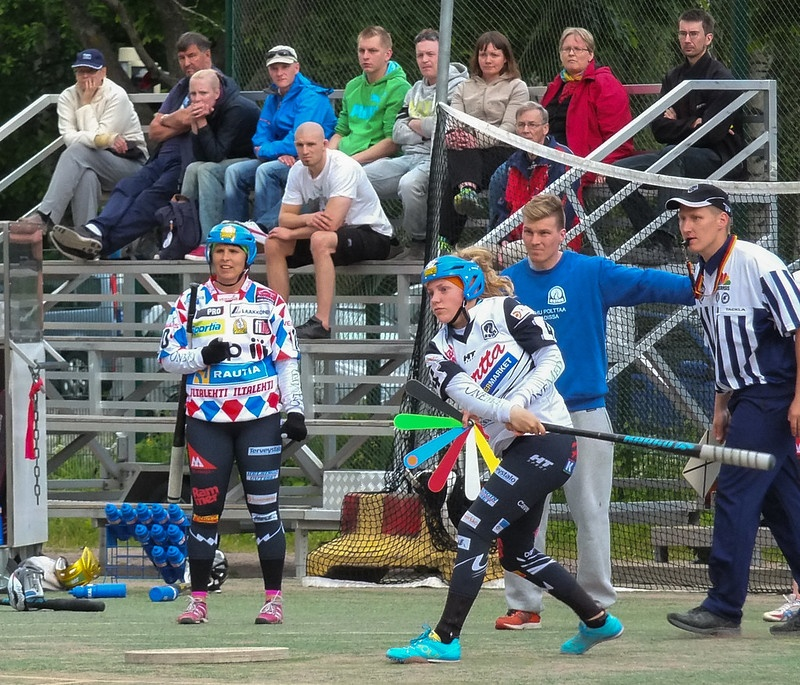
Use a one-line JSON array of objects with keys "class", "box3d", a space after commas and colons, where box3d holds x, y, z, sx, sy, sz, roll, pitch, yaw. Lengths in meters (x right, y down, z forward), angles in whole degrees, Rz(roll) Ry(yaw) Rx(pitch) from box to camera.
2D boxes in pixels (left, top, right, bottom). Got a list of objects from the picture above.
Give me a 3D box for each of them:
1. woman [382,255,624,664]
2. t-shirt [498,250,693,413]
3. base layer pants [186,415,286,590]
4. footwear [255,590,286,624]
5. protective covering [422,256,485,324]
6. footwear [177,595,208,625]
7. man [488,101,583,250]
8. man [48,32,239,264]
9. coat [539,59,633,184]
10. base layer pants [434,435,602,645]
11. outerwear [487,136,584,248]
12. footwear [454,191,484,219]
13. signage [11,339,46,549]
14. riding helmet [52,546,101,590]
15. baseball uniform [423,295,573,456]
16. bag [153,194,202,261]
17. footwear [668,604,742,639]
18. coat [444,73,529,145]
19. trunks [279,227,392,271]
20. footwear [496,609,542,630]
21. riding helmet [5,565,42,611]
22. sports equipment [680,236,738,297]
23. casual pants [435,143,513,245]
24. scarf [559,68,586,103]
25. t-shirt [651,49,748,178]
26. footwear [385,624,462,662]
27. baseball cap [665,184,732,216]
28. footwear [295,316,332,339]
[{"class": "woman", "box3d": [0.658, 0.763, 12.705, 1.674, 2.581, 0.871, 11, -37, -14]}, {"class": "t-shirt", "box3d": [1.230, -0.084, 13.138, 1.117, 0.624, 0.269, -5, 5, 24]}, {"class": "base layer pants", "box3d": [-1.050, 0.981, 13.078, 0.621, 0.412, 1.936, -2, 42, -3]}, {"class": "footwear", "box3d": [-0.835, 1.670, 13.001, 0.173, 0.193, 0.268, -1, 2, -4]}, {"class": "protective covering", "box3d": [0.329, -0.309, 12.034, 0.368, 0.347, 0.285, -4, -5, -30]}, {"class": "footwear", "box3d": [-1.316, 1.700, 12.977, 0.097, 0.123, 0.276, 0, -9, 9]}, {"class": "man", "box3d": [0.938, -1.117, 14.902, 0.725, 1.135, 0.626, 5, 8, 37]}, {"class": "man", "box3d": [-2.122, -1.682, 17.115, 0.856, 1.399, 2.256, 4, 23, 32]}, {"class": "coat", "box3d": [1.440, -1.805, 16.364, 0.942, 0.840, 0.523, 19, 27, 41]}, {"class": "base layer pants", "box3d": [0.644, 1.097, 11.822, 0.975, 1.154, 0.298, -1, 2, -14]}, {"class": "outerwear", "box3d": [0.985, -1.063, 14.948, 0.794, 0.763, 0.435, 1, 1, 35]}, {"class": "footwear", "box3d": [0.509, -1.002, 15.155, 0.211, 0.160, 0.098, 27, -16, -18]}, {"class": "signage", "box3d": [-2.605, 0.719, 14.301, 0.159, 1.422, 0.511, 0, 2, 11]}, {"class": "riding helmet", "box3d": [-2.263, 1.577, 14.333, 0.293, 0.289, 0.235, -12, 34, -1]}, {"class": "baseball uniform", "box3d": [0.546, 0.174, 11.873, 0.740, 0.932, 0.699, -25, -14, 12]}, {"class": "bag", "box3d": [-1.834, -0.957, 17.006, 0.348, 0.527, 0.451, 10, 14, 30]}, {"class": "footwear", "box3d": [1.815, 1.663, 12.303, 0.445, 0.217, 0.163, 12, -9, -7]}, {"class": "coat", "box3d": [0.688, -1.813, 15.988, 0.556, 0.557, 0.362, 0, -4, 15]}, {"class": "trunks", "box3d": [-0.392, -0.734, 16.097, 0.489, 0.170, 0.432, -13, 0, -28]}, {"class": "footwear", "box3d": [0.739, 1.732, 12.852, 0.293, 0.135, 0.114, 4, -7, -23]}, {"class": "riding helmet", "box3d": [-2.508, 1.629, 13.719, 0.240, 0.270, 0.360, -1, 2, -11]}, {"class": "sports equipment", "box3d": [1.934, -0.459, 12.481, 0.283, 0.375, 0.092, 4, 9, 29]}, {"class": "casual pants", "box3d": [0.479, -1.114, 15.232, 0.655, 0.665, 0.178, 2, 7, -4]}, {"class": "scarf", "box3d": [1.347, -2.032, 16.229, 0.208, 0.214, 0.093, 11, 3, 24]}, {"class": "t-shirt", "box3d": [2.305, -1.686, 16.340, 0.581, 0.812, 0.510, 7, -14, 19]}, {"class": "footwear", "box3d": [0.131, 1.703, 11.592, 0.422, 0.175, 0.206, 0, 2, -1]}, {"class": "baseball cap", "box3d": [1.814, -0.835, 12.412, 0.303, 0.146, 0.205, 4, -2, -11]}, {"class": "footwear", "box3d": [-0.678, -0.109, 15.867, 0.321, 0.136, 0.114, 8, 11, -32]}]
